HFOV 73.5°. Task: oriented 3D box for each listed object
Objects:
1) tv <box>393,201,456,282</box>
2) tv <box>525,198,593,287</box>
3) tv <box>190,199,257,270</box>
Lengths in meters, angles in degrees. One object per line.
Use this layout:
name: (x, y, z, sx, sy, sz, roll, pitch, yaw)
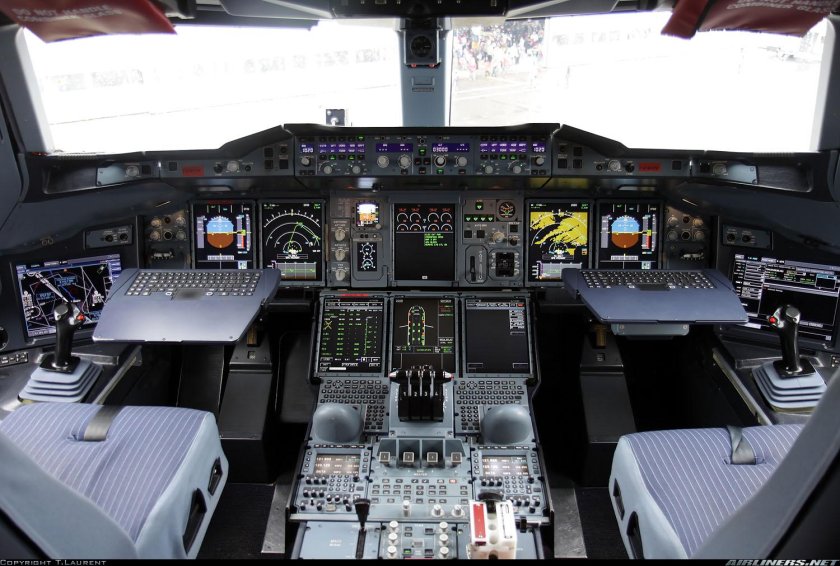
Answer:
tv: (0.033, -0.300, 3.655, 0.550, 0.618, 0.069, 1, 0, -2)
tv: (0.905, -0.272, 3.645, 0.419, 0.454, 0.351, 0, -34, 6)
tv: (-1.249, -0.335, 3.662, 0.534, 0.554, 0.043, 0, 1, -1)
